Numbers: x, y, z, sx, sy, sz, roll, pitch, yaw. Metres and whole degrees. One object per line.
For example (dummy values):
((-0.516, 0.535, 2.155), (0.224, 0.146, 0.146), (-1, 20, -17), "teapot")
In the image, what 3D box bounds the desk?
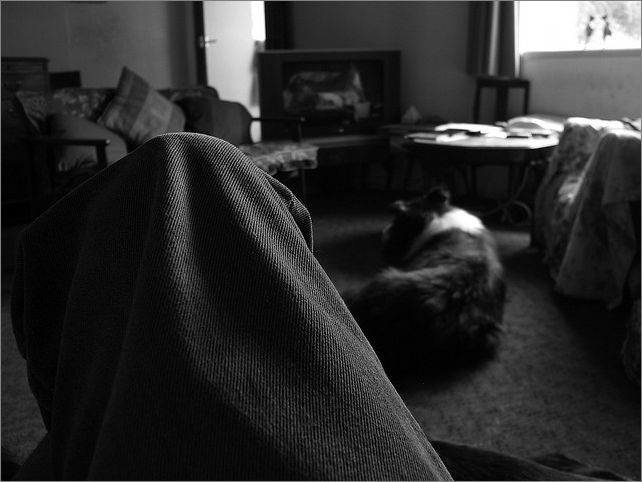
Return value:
((0.808, -0.454, 2.597), (0.607, 0.500, 0.603), (1, 13, 2), "desk")

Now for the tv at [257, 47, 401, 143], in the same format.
((0.043, -1.125, 3.833), (1.036, 0.701, 0.580), (-7, 27, -14), "tv")

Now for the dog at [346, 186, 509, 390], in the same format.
((0.325, 0.149, 1.628), (0.348, 0.321, 0.629), (1, 44, -2), "dog")

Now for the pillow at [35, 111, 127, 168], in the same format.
((-1.001, -0.435, 2.202), (0.320, 0.215, 0.456), (-12, 24, -27), "pillow")
